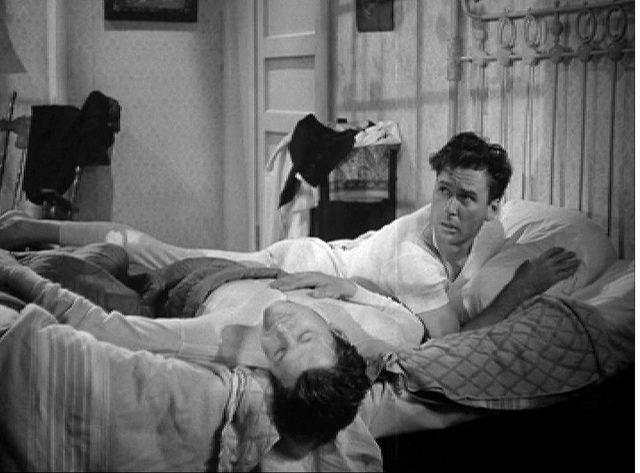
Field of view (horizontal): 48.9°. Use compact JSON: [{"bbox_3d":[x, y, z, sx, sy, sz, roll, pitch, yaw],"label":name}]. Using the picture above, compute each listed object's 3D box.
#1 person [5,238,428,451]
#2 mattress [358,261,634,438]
[{"bbox_3d":[-0.311,0.220,2.445,1.052,0.354,0.704,27,10,1],"label":"person"},{"bbox_3d":[0.714,0.418,2.689,1.196,0.669,0.062,2,4,-20],"label":"mattress"}]
